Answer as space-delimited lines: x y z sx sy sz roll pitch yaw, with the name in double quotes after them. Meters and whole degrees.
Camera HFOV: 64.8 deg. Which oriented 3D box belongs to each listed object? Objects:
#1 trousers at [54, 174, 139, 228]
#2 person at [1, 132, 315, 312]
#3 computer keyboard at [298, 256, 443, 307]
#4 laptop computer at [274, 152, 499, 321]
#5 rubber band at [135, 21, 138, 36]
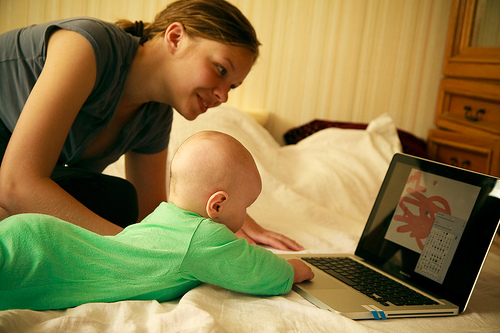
-0.579 0.108 1.540 0.291 0.105 0.160 29 11 -30 "trousers"
-0.213 0.135 1.061 0.795 0.457 0.297 8 13 -18 "person"
0.353 0.342 1.211 0.196 0.039 0.391 3 14 -36 "computer keyboard"
0.455 0.240 1.236 0.555 0.392 0.527 5 11 -28 "laptop computer"
-0.437 -0.525 1.507 0.012 0.051 0.041 7 13 -18 "rubber band"
